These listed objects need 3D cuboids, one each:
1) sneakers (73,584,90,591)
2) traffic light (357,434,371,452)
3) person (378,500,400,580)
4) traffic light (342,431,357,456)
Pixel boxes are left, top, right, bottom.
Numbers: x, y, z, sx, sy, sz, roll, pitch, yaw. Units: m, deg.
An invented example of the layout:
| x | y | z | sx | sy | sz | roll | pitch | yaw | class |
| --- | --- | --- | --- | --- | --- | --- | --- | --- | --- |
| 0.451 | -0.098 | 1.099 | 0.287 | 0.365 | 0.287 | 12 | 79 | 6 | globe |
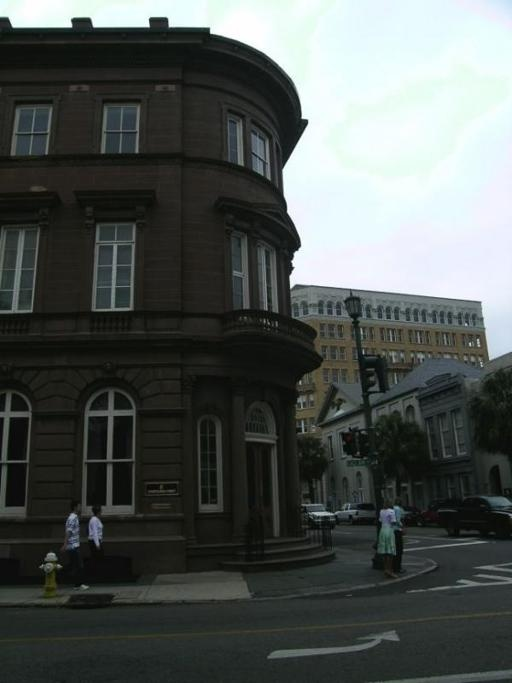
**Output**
| x | y | z | sx | sy | sz | roll | pitch | yaw | class |
| --- | --- | --- | --- | --- | --- | --- | --- | --- | --- |
| -3.781 | 5.309 | 12.617 | 0.218 | 0.092 | 0.116 | -2 | -7 | 8 | sneakers |
| 3.094 | 2.929 | 16.802 | 0.316 | 0.684 | 0.623 | -6 | -14 | 9 | traffic light |
| 3.030 | 4.549 | 13.447 | 0.478 | 1.640 | 0.678 | -7 | -14 | 12 | person |
| 2.721 | 2.944 | 16.985 | 0.399 | 0.727 | 0.505 | -6 | -14 | 9 | traffic light |
